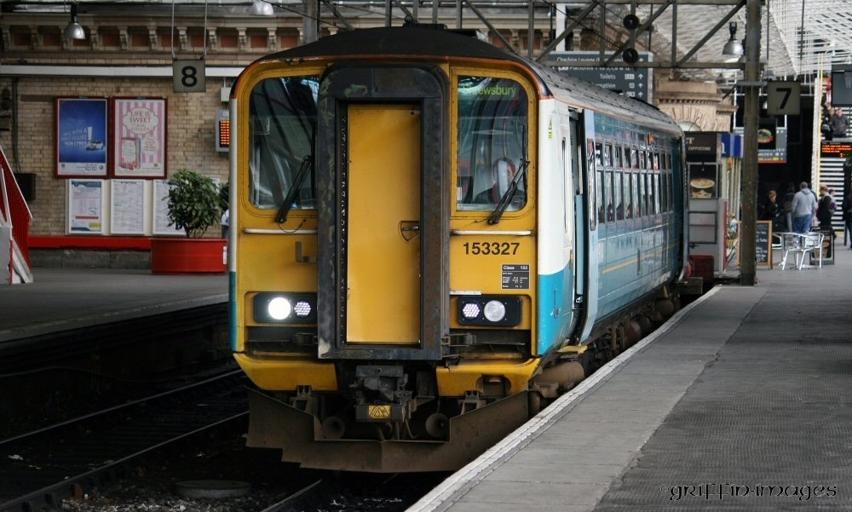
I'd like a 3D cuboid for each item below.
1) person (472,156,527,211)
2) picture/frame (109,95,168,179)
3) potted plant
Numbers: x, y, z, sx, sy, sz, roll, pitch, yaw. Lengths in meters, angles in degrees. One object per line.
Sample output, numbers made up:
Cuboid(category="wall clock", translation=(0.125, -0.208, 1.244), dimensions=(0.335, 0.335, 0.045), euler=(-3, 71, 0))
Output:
Cuboid(category="person", translation=(0.976, -1.005, 12.081), dimensions=(0.466, 0.755, 0.784), euler=(-22, 19, -36))
Cuboid(category="picture/frame", translation=(-8.491, -3.423, 28.378), dimensions=(2.265, 3.409, 0.077), euler=(-1, 1, 3))
Cuboid(category="potted plant", translation=(-6.378, -0.970, 25.370), dimensions=(2.005, 2.659, 2.153), euler=(7, 8, 8))
